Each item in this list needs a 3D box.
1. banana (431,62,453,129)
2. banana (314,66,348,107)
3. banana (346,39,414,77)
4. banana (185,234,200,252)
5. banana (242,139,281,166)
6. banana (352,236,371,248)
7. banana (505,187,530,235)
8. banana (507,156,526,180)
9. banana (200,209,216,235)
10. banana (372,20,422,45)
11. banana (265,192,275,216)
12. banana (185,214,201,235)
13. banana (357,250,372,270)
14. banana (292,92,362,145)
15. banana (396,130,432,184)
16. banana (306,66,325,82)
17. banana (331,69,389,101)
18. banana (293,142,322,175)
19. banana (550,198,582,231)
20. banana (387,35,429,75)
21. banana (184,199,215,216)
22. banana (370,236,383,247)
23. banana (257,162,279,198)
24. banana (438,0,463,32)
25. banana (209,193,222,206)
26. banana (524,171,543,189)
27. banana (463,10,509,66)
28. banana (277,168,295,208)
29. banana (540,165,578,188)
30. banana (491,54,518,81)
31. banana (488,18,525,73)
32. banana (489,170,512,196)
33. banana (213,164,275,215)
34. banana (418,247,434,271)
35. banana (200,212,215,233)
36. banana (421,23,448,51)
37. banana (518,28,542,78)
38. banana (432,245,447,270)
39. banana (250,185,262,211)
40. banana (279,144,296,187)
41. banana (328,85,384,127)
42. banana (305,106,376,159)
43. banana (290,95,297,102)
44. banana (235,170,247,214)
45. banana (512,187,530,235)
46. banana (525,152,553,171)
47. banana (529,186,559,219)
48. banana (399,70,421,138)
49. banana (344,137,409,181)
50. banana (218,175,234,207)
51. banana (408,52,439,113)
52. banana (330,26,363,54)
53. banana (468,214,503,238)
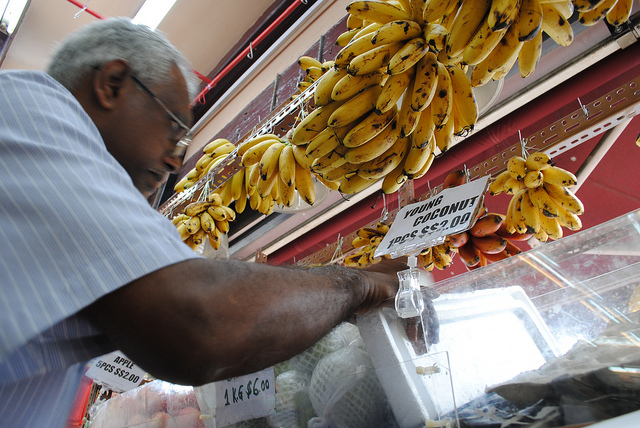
[{"bbox_3d":[0.357,-0.349,1.050,0.051,0.195,0.062,1,-5,-13],"label":"banana"},{"bbox_3d":[0.034,-0.444,1.160,0.063,0.194,0.054,27,-33,13],"label":"banana"},{"bbox_3d":[0.176,-0.467,1.037,0.220,0.052,0.071,-22,-11,0],"label":"banana"},{"bbox_3d":[-0.593,0.128,1.647,0.049,0.030,0.145,-7,-54,-16],"label":"banana"},{"bbox_3d":[-0.265,-0.289,1.630,0.077,0.106,0.288,18,-1,-38],"label":"banana"},{"bbox_3d":[0.190,0.134,1.686,0.085,0.050,0.040,-10,2,4],"label":"banana"},{"bbox_3d":[0.833,0.009,1.511,0.052,0.235,0.076,-7,-24,43],"label":"banana"},{"bbox_3d":[0.788,-0.195,1.434,0.071,0.094,0.053,-2,-22,-8],"label":"banana"},{"bbox_3d":[-0.624,0.048,1.958,0.062,0.135,0.049,-39,-28,21],"label":"banana"},{"bbox_3d":[0.221,-0.537,1.029,0.202,0.069,0.058,-17,-41,-25],"label":"banana"},{"bbox_3d":[-0.254,-0.053,1.790,0.032,0.121,0.041,-5,12,-26],"label":"banana"},{"bbox_3d":[-0.688,0.060,1.988,0.062,0.058,0.128,-9,15,20],"label":"banana"},{"bbox_3d":[0.193,0.200,1.537,0.037,0.029,0.106,9,33,23],"label":"banana"},{"bbox_3d":[-0.014,-0.330,1.210,0.318,0.106,0.079,-13,-40,26],"label":"banana"},{"bbox_3d":[0.325,-0.177,1.162,0.048,0.202,0.070,33,-14,-18],"label":"banana"},{"bbox_3d":[-0.026,-0.657,1.676,0.049,0.040,0.147,8,-3,1],"label":"banana"},{"bbox_3d":[0.129,-0.410,1.119,0.199,0.073,0.055,-19,-17,3],"label":"banana"},{"bbox_3d":[-0.059,-0.228,1.324,0.060,0.172,0.052,-25,-39,-20],"label":"banana"},{"bbox_3d":[0.994,-0.003,1.451,0.053,0.195,0.063,-41,-58,-4],"label":"banana"},{"bbox_3d":[0.249,-0.471,1.007,0.139,0.148,0.043,0,-22,-13],"label":"banana"},{"bbox_3d":[-0.671,-0.034,2.006,0.176,0.072,0.066,-18,-48,-14],"label":"banana"},{"bbox_3d":[0.242,0.122,1.565,0.068,0.025,0.053,-32,17,19],"label":"banana"},{"bbox_3d":[-0.217,-0.131,1.507,0.051,0.064,0.197,5,-45,-11],"label":"banana"},{"bbox_3d":[0.374,-0.582,1.040,0.023,0.037,0.104,19,-37,-5],"label":"banana"},{"bbox_3d":[-0.572,-0.080,1.943,0.062,0.069,0.075,-14,11,-7],"label":"banana"},{"bbox_3d":[0.822,-0.138,1.373,0.052,0.041,0.069,13,-37,6],"label":"banana"},{"bbox_3d":[0.410,-0.456,0.888,0.141,0.038,0.046,-60,-26,12],"label":"banana"},{"bbox_3d":[-0.144,-0.127,1.558,0.058,0.186,0.049,3,-18,-43],"label":"banana"},{"bbox_3d":[0.936,-0.149,1.384,0.053,0.063,0.191,-43,-10,6],"label":"banana"},{"bbox_3d":[0.542,-0.452,1.049,0.068,0.048,0.199,-3,23,23],"label":"banana"},{"bbox_3d":[0.484,-0.448,0.926,0.045,0.167,0.058,21,-35,9],"label":"banana"},{"bbox_3d":[0.775,-0.132,1.539,0.034,0.040,0.125,33,-38,1],"label":"banana"},{"bbox_3d":[-0.402,-0.091,1.830,0.099,0.205,0.328,-45,-13,-17],"label":"banana"},{"bbox_3d":[0.476,0.215,1.594,0.028,0.124,0.077,-11,2,26],"label":"banana"},{"bbox_3d":[-0.610,0.044,1.939,0.054,0.112,0.045,-23,-36,-11],"label":"banana"},{"bbox_3d":[0.310,-0.507,0.993,0.052,0.105,0.046,-18,-63,5],"label":"banana"},{"bbox_3d":[0.598,-0.456,1.017,0.057,0.058,0.176,9,-3,24],"label":"banana"},{"bbox_3d":[0.541,0.210,1.630,0.059,0.081,0.187,-11,-23,16],"label":"banana"},{"bbox_3d":[-0.316,-0.078,1.726,0.033,0.129,0.041,-2,12,-17],"label":"banana"},{"bbox_3d":[-0.129,-0.199,1.407,0.069,0.170,0.094,-8,-21,7],"label":"banana"},{"bbox_3d":[0.095,-0.370,1.178,0.076,0.093,0.283,-31,27,-19],"label":"banana"},{"bbox_3d":[0.072,-0.262,1.121,0.215,0.050,0.070,-39,-10,15],"label":"banana"},{"bbox_3d":[-0.137,-0.615,1.831,0.023,0.023,0.076,31,1,-1],"label":"banana"},{"bbox_3d":[-0.416,-0.118,1.933,0.071,0.224,0.051,6,12,37],"label":"banana"},{"bbox_3d":[0.806,-0.002,1.474,0.067,0.206,0.054,23,-27,-36],"label":"banana"},{"bbox_3d":[0.841,-0.211,1.386,0.078,0.083,0.076,-14,-23,22],"label":"banana"},{"bbox_3d":[0.895,-0.046,1.444,0.076,0.133,0.080,-14,-23,22],"label":"banana"},{"bbox_3d":[0.254,-0.313,1.050,0.049,0.209,0.067,10,5,-6],"label":"banana"},{"bbox_3d":[0.223,-0.186,1.213,0.292,0.072,0.103,-34,12,-25],"label":"banana"},{"bbox_3d":[-0.497,-0.106,1.960,0.074,0.215,0.048,14,3,30],"label":"banana"},{"bbox_3d":[0.302,-0.392,1.044,0.059,0.206,0.067,9,-30,8],"label":"banana"},{"bbox_3d":[0.100,-0.746,1.488,0.051,0.063,0.190,-29,-1,-4],"label":"banana"},{"bbox_3d":[0.633,0.045,1.371,0.063,0.032,0.099,-12,-15,-29],"label":"banana"}]
